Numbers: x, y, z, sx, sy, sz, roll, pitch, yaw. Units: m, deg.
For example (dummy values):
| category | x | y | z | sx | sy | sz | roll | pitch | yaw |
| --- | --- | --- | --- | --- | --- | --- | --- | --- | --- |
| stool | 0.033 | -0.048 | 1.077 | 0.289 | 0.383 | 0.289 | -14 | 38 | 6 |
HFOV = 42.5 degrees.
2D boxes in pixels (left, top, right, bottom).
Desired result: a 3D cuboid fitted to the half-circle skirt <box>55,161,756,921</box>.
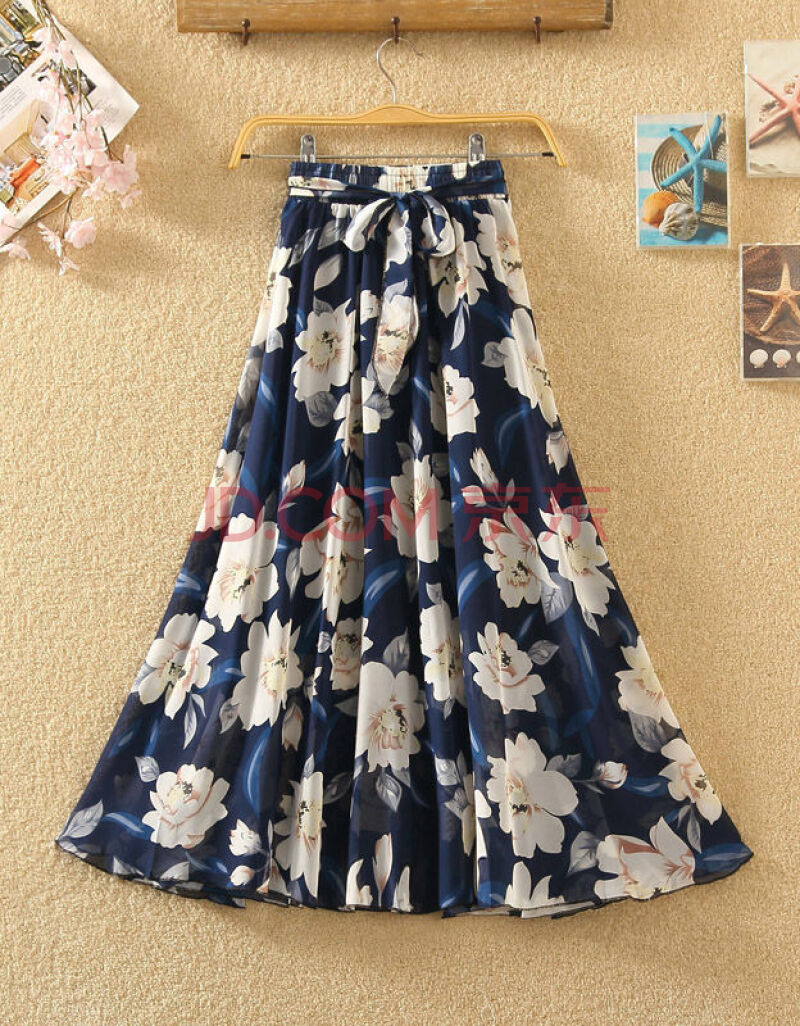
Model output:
| category | x | y | z | sx | sy | sz | roll | pitch | yaw |
| --- | --- | --- | --- | --- | --- | --- | --- | --- | --- |
| half-circle skirt | 0.038 | 0.079 | 1.618 | 1.399 | 0.213 | 1.167 | 0 | 84 | -1 |

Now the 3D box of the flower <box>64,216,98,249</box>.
| category | x | y | z | sx | sy | sz | roll | pitch | yaw |
| --- | --- | --- | --- | --- | --- | --- | --- | --- | --- |
| flower | -0.511 | -0.452 | 1.658 | 0.026 | 0.063 | 0.057 | 22 | 117 | 39 |
